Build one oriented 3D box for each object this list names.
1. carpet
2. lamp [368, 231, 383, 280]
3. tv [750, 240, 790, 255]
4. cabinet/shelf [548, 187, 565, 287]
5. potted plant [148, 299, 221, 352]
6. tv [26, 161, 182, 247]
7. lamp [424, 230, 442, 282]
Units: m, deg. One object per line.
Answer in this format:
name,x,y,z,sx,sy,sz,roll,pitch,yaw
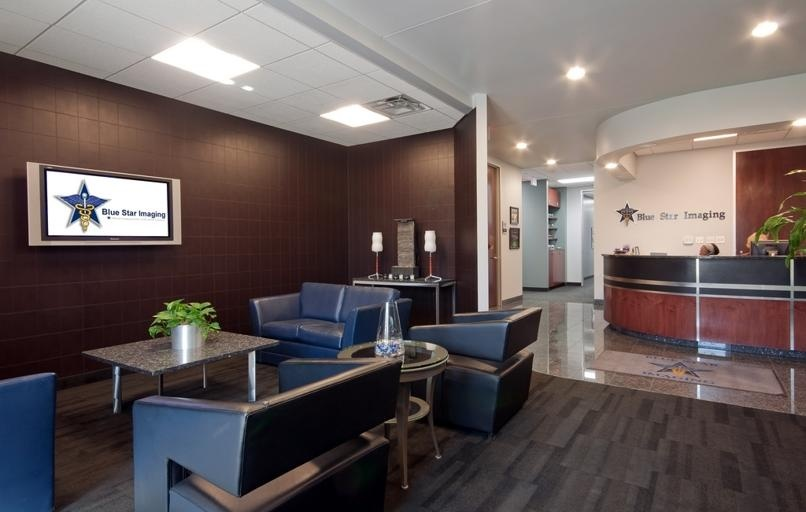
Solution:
carpet,3.616,1.457,6.283,1.990,0.162,1.055,0,3,25
lamp,-0.432,-0.025,8.450,0.202,0.762,0.550,-2,3,-4
tv,5.295,-0.125,7.094,0.409,0.209,0.620,1,4,35
cabinet/shelf,4.465,-0.551,14.402,0.426,2.934,1.358,0,3,26
potted plant,-2.364,0.724,5.333,0.767,0.487,0.740,2,1,16
tv,-3.707,-0.628,5.975,0.091,0.637,1.209,3,3,43
lamp,0.462,-0.035,7.995,0.214,0.776,0.505,-1,3,2
